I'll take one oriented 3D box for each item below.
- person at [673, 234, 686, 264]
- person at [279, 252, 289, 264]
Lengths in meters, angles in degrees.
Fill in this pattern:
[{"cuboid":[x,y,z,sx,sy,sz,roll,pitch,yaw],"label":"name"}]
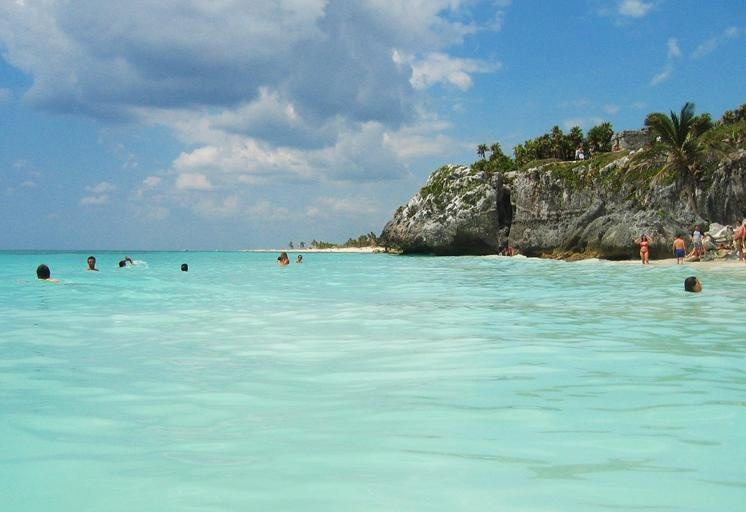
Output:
[{"cuboid":[14.994,-0.388,28.388,0.424,1.446,2.501,1,-1,26],"label":"person"},{"cuboid":[-5.985,0.210,39.533,0.592,0.814,1.673,0,-4,-13],"label":"person"}]
